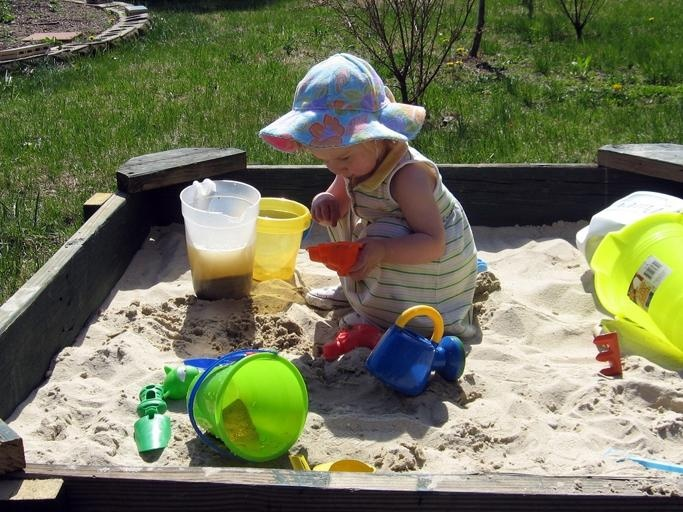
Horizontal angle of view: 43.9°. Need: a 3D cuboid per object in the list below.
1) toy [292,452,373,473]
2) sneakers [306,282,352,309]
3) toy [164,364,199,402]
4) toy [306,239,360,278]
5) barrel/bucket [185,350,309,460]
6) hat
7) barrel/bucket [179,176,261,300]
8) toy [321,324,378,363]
[{"bbox_3d":[-0.044,0.795,3.219,0.205,0.074,0.125,0,4,6],"label":"toy"},{"bbox_3d":[-0.078,0.200,4.232,0.195,0.086,0.109,-1,40,0],"label":"sneakers"},{"bbox_3d":[-0.685,0.535,3.629,0.125,0.161,0.119,25,4,17],"label":"toy"},{"bbox_3d":[-0.030,0.009,3.709,0.188,0.098,0.150,2,-5,-1],"label":"toy"},{"bbox_3d":[-0.330,0.573,3.407,0.340,0.444,0.443,13,0,40],"label":"barrel/bucket"},{"bbox_3d":[-0.010,-0.714,3.753,0.724,0.323,0.691,-9,27,-16],"label":"hat"},{"bbox_3d":[-0.598,-0.100,4.269,0.382,0.510,0.414,3,30,-2],"label":"barrel/bucket"},{"bbox_3d":[0.048,0.380,3.831,0.230,0.108,0.135,-27,9,-21],"label":"toy"}]
